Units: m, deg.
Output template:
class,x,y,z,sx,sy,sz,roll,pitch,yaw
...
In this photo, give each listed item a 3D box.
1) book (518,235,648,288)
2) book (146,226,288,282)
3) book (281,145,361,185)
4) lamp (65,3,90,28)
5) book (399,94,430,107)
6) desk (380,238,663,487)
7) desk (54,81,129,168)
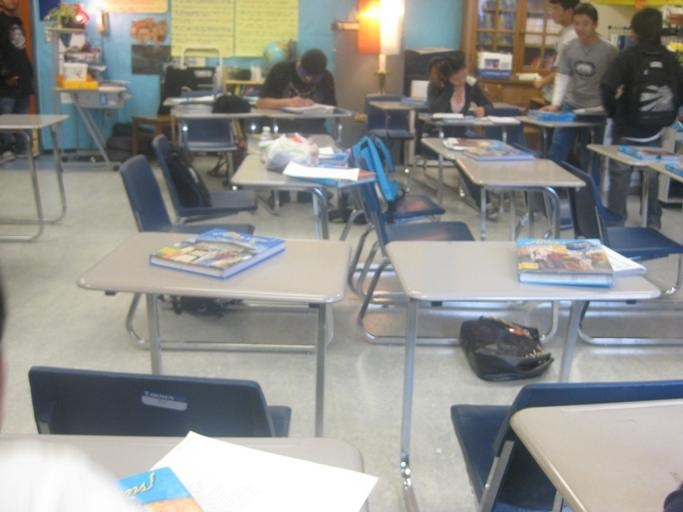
class,x,y,z,sx,sy,sz,roll,pitch,yaw
book,0.733,0.012,1.975,0.395,0.065,0.324,1,21,3
book,-0.377,-0.011,1.941,0.202,0.030,0.217,12,23,26
book,-0.098,-0.419,3.149,0.323,0.088,0.245,-2,19,-18
lamp,-2.786,-2.529,6.625,0.170,0.227,0.329,-9,22,-21
book,0.773,-1.618,6.554,0.312,0.078,0.299,5,24,4
desk,0.547,0.249,2.327,0.800,0.735,0.843,1,31,-1
desk,-2.846,-1.476,7.118,0.805,0.884,0.604,-1,16,-17
